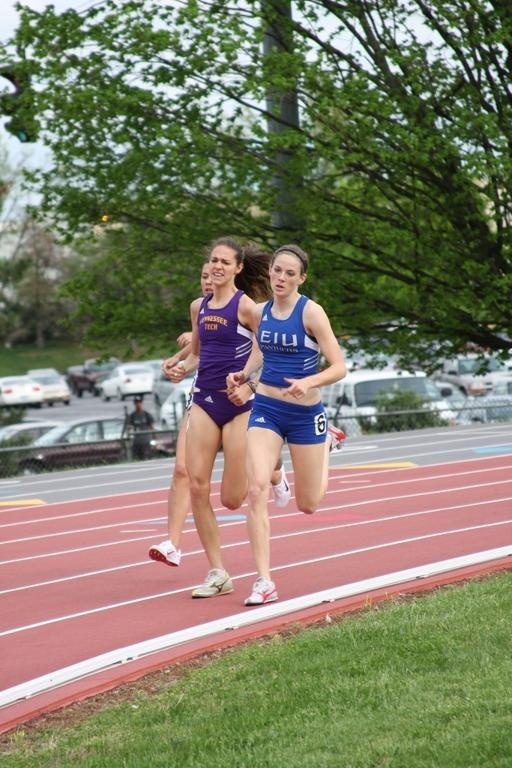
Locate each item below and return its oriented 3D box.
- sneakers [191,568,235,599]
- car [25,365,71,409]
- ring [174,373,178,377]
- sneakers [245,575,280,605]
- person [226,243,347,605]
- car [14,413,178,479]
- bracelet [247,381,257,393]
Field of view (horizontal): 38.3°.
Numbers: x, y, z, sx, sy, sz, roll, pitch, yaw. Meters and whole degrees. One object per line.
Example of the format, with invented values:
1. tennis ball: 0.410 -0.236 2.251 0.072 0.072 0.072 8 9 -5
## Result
1. sneakers: -0.283 1.287 4.786 0.363 0.150 0.125 0 -2 -40
2. car: -4.725 0.101 17.281 0.822 0.603 1.757 -1 10 -14
3. ring: -0.552 -0.060 5.005 0.017 0.019 0.006 -6 -11 -18
4. sneakers: 0.034 1.234 4.390 0.103 0.125 0.278 -8 -8 24
5. person: 0.217 0.231 4.249 0.603 2.100 0.820 -4 -4 -25
6. car: -3.523 1.390 16.375 2.925 0.872 1.178 1 -2 -19
7. bracelet: -0.028 0.018 4.561 0.028 0.064 0.052 -17 17 -38
